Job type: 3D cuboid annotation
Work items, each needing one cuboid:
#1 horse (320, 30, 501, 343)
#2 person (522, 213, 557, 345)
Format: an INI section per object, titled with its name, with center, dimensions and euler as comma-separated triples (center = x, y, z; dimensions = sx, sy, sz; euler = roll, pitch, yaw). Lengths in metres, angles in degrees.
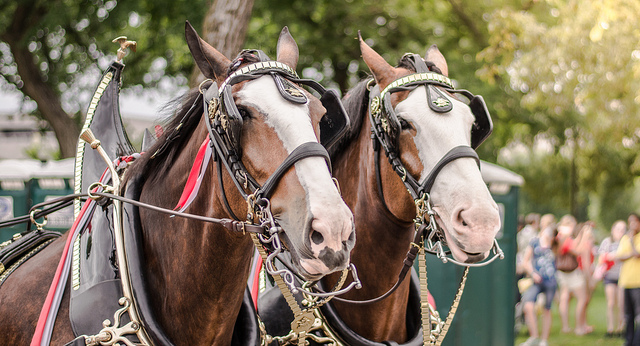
[horse]
center = 5.006, 0.481, 29.767
dimensions = 6.037, 6.206, 9.231
euler = 1, 0, 1
[person]
center = 5.777, 2.897, 31.803
dimensions = 0.890, 3.194, 0.801
euler = 4, -14, -12
